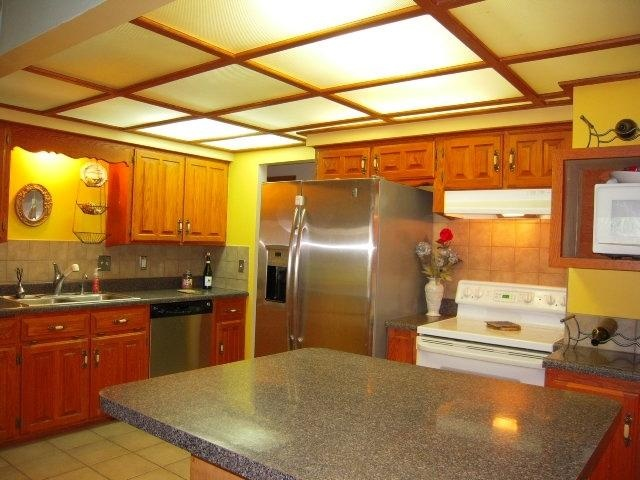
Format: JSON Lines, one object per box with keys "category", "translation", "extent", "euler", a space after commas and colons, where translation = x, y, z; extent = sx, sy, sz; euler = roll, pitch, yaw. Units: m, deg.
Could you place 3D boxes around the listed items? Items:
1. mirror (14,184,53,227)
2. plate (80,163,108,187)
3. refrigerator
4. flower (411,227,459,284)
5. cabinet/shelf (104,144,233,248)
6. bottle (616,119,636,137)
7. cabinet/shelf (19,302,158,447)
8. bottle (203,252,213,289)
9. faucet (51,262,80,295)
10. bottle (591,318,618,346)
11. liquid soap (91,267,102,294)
{"category": "mirror", "translation": [-2.534, -0.301, 4.036], "extent": [0.039, 0.459, 0.386], "euler": [-2, -2, 36]}
{"category": "plate", "translation": [-2.154, -0.622, 4.409], "extent": [0.155, 0.243, 0.260], "euler": [2, 1, 44]}
{"category": "refrigerator", "translation": [0.094, 0.258, 3.704], "extent": [1.325, 1.438, 0.653], "euler": [2, 1, 15]}
{"category": "flower", "translation": [0.994, 0.123, 3.857], "extent": [0.370, 0.441, 0.322], "euler": [8, 19, -9]}
{"category": "cabinet/shelf", "translation": [-1.554, -0.446, 4.565], "extent": [0.394, 0.841, 1.041], "euler": [-2, -3, 42]}
{"category": "bottle", "translation": [1.656, -0.603, 2.487], "extent": [0.100, 0.104, 0.184], "euler": [2, 1, 33]}
{"category": "cabinet/shelf", "translation": [-1.781, 1.004, 3.399], "extent": [0.569, 1.029, 1.122], "euler": [-3, -4, 39]}
{"category": "bottle", "translation": [-1.257, 0.344, 5.159], "extent": [0.107, 0.391, 0.284], "euler": [1, 1, -14]}
{"category": "faucet", "translation": [-2.271, 0.348, 4.109], "extent": [0.211, 0.277, 0.344], "euler": [1, 1, -28]}
{"category": "bottle", "translation": [1.707, 0.571, 2.754], "extent": [0.096, 0.158, 0.325], "euler": [2, 1, 38]}
{"category": "liquid soap", "translation": [-2.111, 0.385, 4.342], "extent": [0.072, 0.232, 0.167], "euler": [1, 1, -26]}
